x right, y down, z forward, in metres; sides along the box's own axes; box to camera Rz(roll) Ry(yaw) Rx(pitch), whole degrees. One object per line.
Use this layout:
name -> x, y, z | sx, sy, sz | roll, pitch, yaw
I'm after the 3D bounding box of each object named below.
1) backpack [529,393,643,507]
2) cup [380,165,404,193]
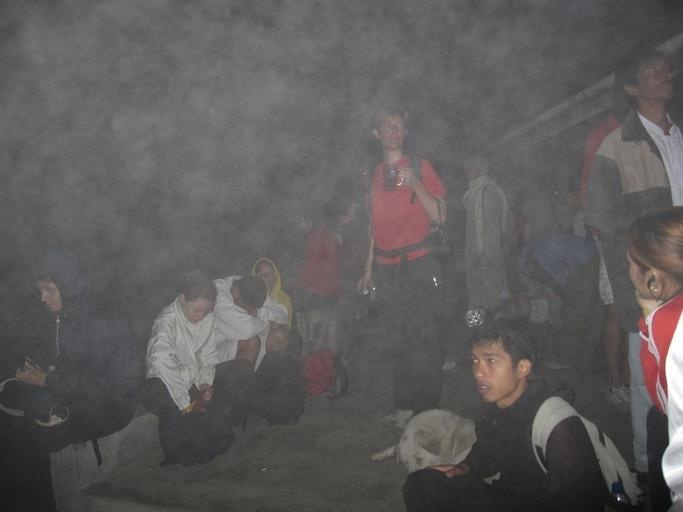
backpack -> 1.612, 1.273, 5.261 | 0.704, 0.708, 0.157 | 1, -9, -15
cup -> 0.376, -0.555, 5.796 | 0.177, 0.177, 0.106 | 4, 8, 26
